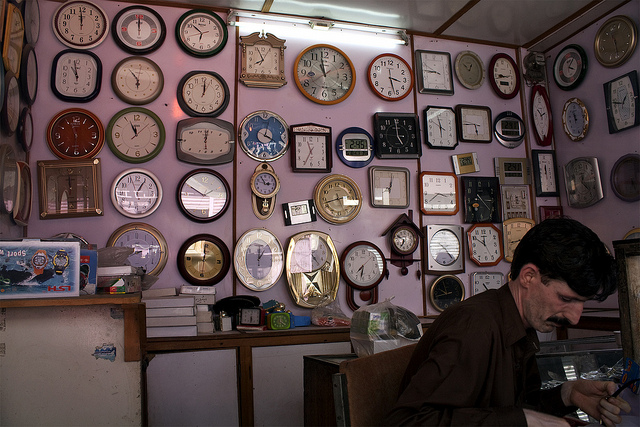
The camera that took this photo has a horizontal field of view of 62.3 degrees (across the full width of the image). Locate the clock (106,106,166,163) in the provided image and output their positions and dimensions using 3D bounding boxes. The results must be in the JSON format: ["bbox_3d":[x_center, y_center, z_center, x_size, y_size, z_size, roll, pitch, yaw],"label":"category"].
[{"bbox_3d":[-1.662,-0.693,4.701,0.488,0.538,0.055,1,-15,-17],"label":"clock"}]

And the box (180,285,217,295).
[{"bbox_3d":[-1.041,0.652,4.488,0.282,0.082,0.073,1,-9,-26],"label":"box"}]

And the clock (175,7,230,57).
[{"bbox_3d":[-1.119,-1.691,4.910,0.455,0.468,0.053,1,-10,-16],"label":"clock"}]

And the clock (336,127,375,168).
[{"bbox_3d":[0.318,-0.634,5.099,0.367,0.414,0.075,2,-10,-12],"label":"clock"}]

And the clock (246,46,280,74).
[{"bbox_3d":[-0.554,-1.452,4.994,0.264,0.242,0.031,1,-8,-9],"label":"clock"}]

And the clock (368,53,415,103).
[{"bbox_3d":[0.683,-1.344,5.273,0.479,0.491,0.056,2,-12,-20],"label":"clock"}]

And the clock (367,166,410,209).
[{"bbox_3d":[0.642,-0.248,5.130,0.388,0.412,0.041,1,-8,-17],"label":"clock"}]

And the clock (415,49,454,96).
[{"bbox_3d":[1.142,-1.430,5.382,0.446,0.494,0.051,4,-14,-23],"label":"clock"}]

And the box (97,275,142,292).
[{"bbox_3d":[-1.350,0.488,3.670,0.174,0.117,0.360,-6,-8,20],"label":"box"}]

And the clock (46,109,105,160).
[{"bbox_3d":[-2.125,-0.698,4.614,0.430,0.457,0.101,-6,-2,-11],"label":"clock"}]

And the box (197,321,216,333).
[{"bbox_3d":[-0.954,0.949,4.409,0.133,0.086,0.061,1,-8,-25],"label":"box"}]

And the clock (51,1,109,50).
[{"bbox_3d":[-2.160,-1.675,4.697,0.438,0.557,0.061,0,-11,-17],"label":"clock"}]

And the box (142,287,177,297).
[{"bbox_3d":[-1.323,0.651,4.346,0.263,0.068,0.114,0,-8,-19],"label":"box"}]

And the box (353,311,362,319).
[{"bbox_3d":[0.247,0.675,3.517,0.029,0.047,0.101,1,-8,-22],"label":"box"}]

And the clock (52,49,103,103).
[{"bbox_3d":[-2.162,-1.207,4.657,0.458,0.571,0.064,0,-10,-13],"label":"clock"}]

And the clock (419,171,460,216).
[{"bbox_3d":[1.173,-0.197,5.268,0.418,0.438,0.043,0,-5,-14],"label":"clock"}]

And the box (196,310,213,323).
[{"bbox_3d":[-0.969,0.867,4.431,0.126,0.091,0.072,1,-1,-12],"label":"box"}]

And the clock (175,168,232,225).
[{"bbox_3d":[-1.054,-0.159,4.772,0.486,0.540,0.062,2,-24,-16],"label":"clock"}]
